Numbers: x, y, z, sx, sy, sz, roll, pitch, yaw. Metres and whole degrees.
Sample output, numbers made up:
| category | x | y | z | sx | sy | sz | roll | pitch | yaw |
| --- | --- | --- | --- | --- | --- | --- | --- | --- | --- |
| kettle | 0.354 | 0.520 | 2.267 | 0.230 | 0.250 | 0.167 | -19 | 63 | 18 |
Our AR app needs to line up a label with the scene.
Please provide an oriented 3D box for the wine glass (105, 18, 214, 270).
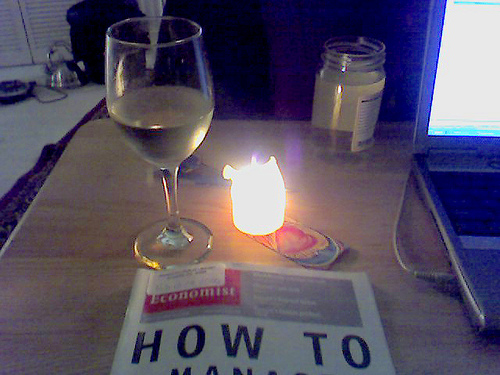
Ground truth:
| category | x | y | z | sx | sy | sz | roll | pitch | yaw |
| --- | --- | --- | --- | --- | --- | --- | --- | --- | --- |
| wine glass | -0.123 | -0.063 | 0.651 | 0.150 | 0.322 | 0.202 | -5 | 37 | -4 |
